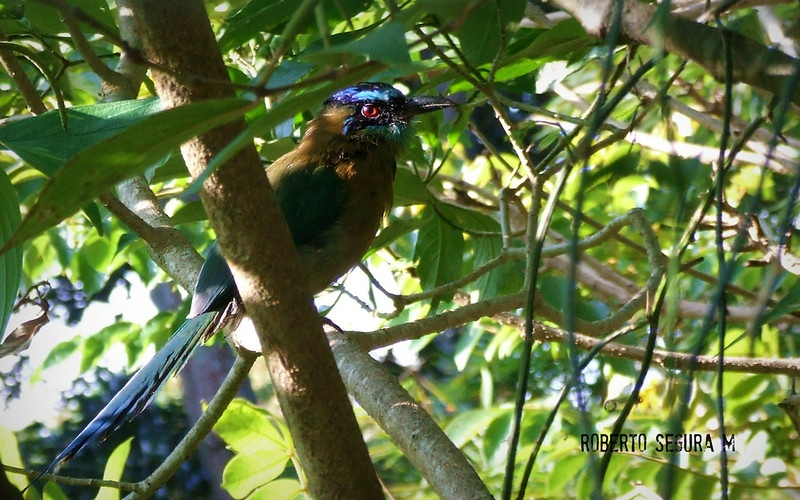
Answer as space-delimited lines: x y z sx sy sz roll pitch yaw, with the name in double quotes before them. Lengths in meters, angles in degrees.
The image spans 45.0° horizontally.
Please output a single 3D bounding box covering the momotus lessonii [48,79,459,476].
"momotus lessonii" -0.693 0.026 4.129 2.105 0.584 0.934 -23 -92 -10
